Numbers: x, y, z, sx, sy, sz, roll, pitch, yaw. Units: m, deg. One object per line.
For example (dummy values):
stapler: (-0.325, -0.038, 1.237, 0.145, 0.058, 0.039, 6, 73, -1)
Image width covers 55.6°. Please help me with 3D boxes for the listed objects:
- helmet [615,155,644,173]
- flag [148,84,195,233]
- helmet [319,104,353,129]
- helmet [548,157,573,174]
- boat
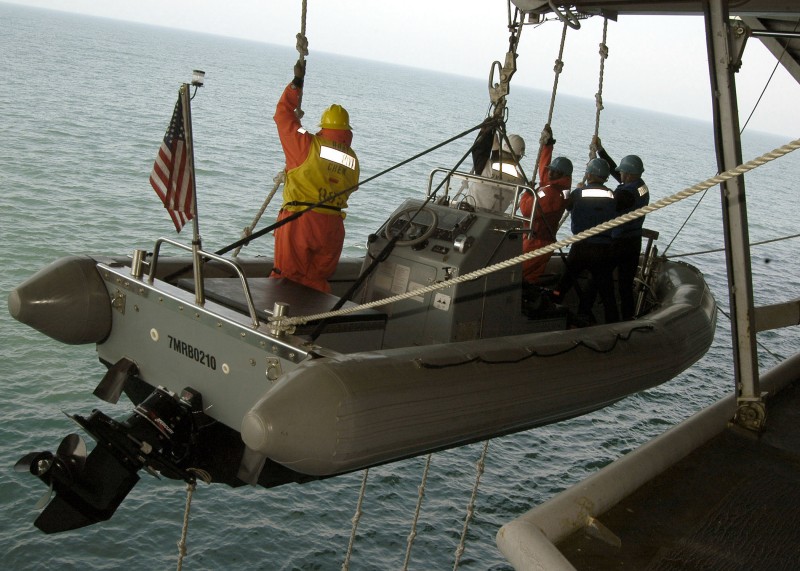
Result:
helmet: (2.296, -1.245, 7.676, 0.212, 0.111, 0.243, -15, 25, -28)
flag: (-1.486, -0.798, 4.960, 0.263, 1.045, 0.570, 1, 21, -16)
helmet: (-0.538, -1.300, 5.870, 0.278, 0.131, 0.204, 7, 9, 11)
helmet: (1.693, -1.279, 8.059, 0.284, 0.175, 0.180, 0, 18, -7)
boat: (-0.182, 0.277, 5.578, 4.750, 2.125, 2.409, -8, 24, -37)
